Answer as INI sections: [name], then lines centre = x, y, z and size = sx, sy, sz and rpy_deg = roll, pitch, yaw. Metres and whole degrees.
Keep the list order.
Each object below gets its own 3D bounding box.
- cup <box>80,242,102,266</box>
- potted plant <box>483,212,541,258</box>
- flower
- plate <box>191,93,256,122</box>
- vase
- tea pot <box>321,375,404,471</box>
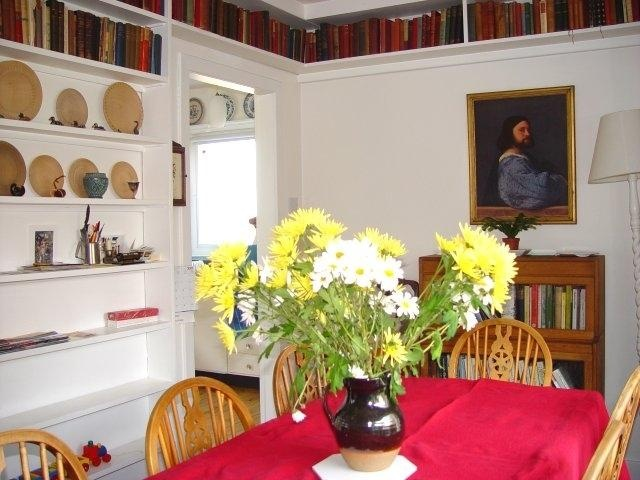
[cup]
centre = -1.411, 0.085, 2.860
size = 0.126, 0.121, 0.057
rpy_deg = -1, 0, -27
[potted plant]
centre = 1.493, -0.089, 3.655
size = 0.441, 0.306, 0.423
rpy_deg = 1, 0, 1
[flower]
centre = 0.090, 0.221, 1.447
size = 0.919, 0.568, 0.437
rpy_deg = -1, 0, -3
[plate]
centre = -1.227, -1.612, 5.738
size = 0.945, 0.353, 0.136
rpy_deg = -1, 0, 21
[vase]
centre = 0.151, 0.540, 1.545
size = 0.256, 0.323, 0.261
rpy_deg = -2, 0, 19
[tea pot]
centre = 0.148, 0.549, 1.514
size = 0.275, 0.292, 0.227
rpy_deg = -1, -2, 15
